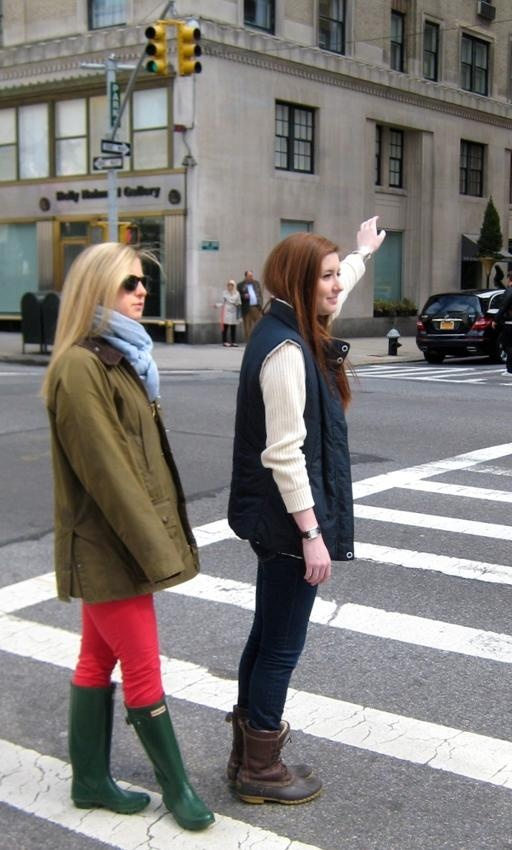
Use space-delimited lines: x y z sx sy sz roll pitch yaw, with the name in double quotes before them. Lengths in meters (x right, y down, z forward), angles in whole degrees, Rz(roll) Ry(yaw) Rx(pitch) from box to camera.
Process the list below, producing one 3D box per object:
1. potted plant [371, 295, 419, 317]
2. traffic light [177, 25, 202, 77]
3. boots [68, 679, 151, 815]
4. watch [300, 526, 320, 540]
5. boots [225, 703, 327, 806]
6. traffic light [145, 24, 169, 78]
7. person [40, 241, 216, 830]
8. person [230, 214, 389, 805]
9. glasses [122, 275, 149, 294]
"potted plant" 4.578 -3.798 31.701 1.400 0.778 0.777 1 -7 -24
"traffic light" -1.068 -5.995 15.170 0.337 0.889 1.258 1 7 -4
"boots" -0.406 0.910 2.713 0.241 0.384 0.110 4 10 6
"watch" 0.148 0.303 2.613 0.046 0.032 0.050 -8 -11 -9
"boots" 0.029 0.979 2.912 0.296 0.324 0.165 -3 9 -18
"traffic light" -1.566 -5.977 15.012 0.308 0.854 1.174 0 7 -7
"person" -0.358 0.312 2.647 0.444 1.609 0.447 -1 7 -14
"person" 0.099 0.287 2.783 0.359 1.670 0.421 1 7 -2
"glasses" -0.336 -0.388 2.652 0.062 0.030 0.065 -5 1 17
